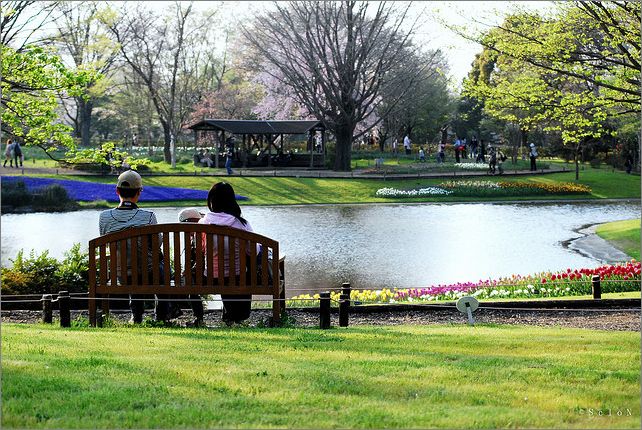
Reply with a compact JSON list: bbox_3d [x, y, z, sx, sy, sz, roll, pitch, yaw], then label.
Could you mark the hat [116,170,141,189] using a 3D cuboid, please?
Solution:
[{"bbox_3d":[-7.307,-1.382,44.491,0.601,0.412,0.874,1,15,-7],"label":"hat"}]
